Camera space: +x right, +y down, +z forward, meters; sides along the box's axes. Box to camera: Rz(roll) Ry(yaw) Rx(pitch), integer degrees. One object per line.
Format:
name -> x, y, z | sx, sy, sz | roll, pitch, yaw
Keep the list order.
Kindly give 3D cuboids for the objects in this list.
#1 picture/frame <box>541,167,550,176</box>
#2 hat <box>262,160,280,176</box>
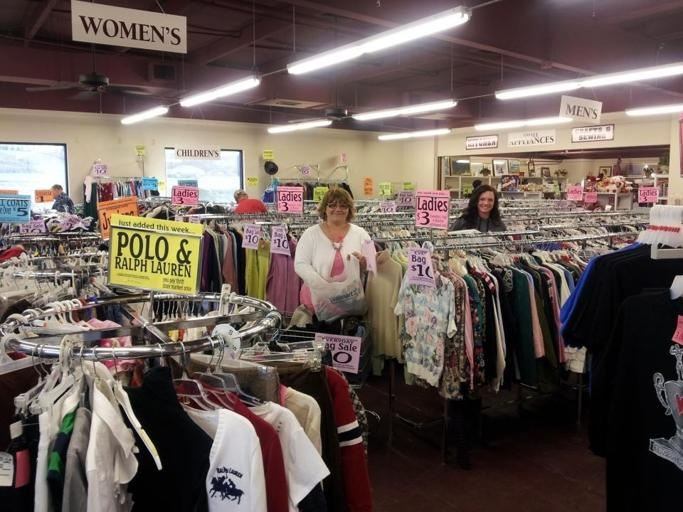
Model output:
picture/frame -> 7.583, -3.137, 16.652 | 0.312, 0.243, 0.031 | -12, 22, -43
hat -> -2.194, -2.721, 13.826 | 0.437, 0.467, 0.533 | -2, 10, -10
